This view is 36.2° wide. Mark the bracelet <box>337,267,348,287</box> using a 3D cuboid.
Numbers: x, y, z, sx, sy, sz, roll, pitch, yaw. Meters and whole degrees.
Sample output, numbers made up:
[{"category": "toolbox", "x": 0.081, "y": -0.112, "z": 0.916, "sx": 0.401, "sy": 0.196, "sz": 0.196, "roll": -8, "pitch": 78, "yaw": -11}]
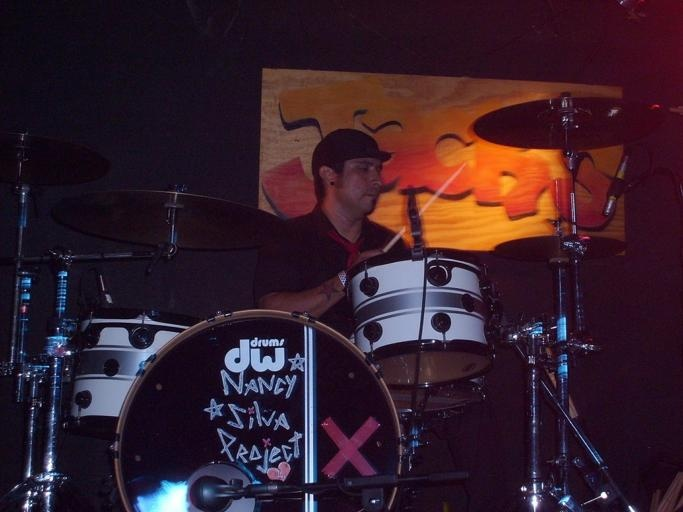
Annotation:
[{"category": "bracelet", "x": 0.010, "y": 0.124, "z": 5.605, "sx": 0.033, "sy": 0.081, "sz": 0.063, "roll": -2, "pitch": 5, "yaw": -33}]

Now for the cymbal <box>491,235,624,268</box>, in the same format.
[{"category": "cymbal", "x": 1.243, "y": -0.002, "z": 5.979, "sx": 0.738, "sy": 0.126, "sz": 0.434, "roll": -2, "pitch": -19, "yaw": 3}]
